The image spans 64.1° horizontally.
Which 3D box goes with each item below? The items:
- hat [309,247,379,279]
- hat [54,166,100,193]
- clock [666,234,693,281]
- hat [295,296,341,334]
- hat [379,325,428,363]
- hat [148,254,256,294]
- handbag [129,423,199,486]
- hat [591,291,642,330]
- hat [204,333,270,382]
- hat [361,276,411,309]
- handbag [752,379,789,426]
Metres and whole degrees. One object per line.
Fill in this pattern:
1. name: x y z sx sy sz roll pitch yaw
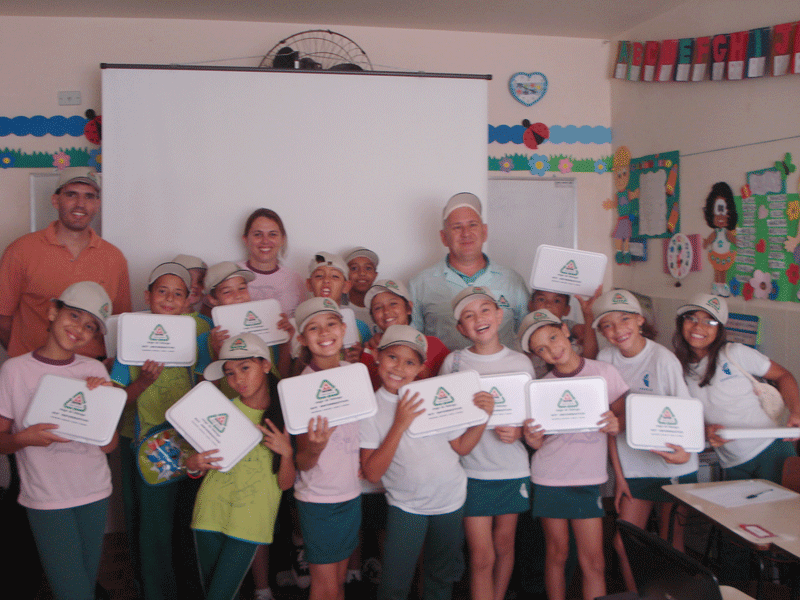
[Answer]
1. hat: -0.345 -0.253 3.954 0.219 0.102 0.328 -7 -1 41
2. hat: -1.928 -0.719 3.788 0.215 0.145 0.299 -6 10 -30
3. clock: 2.083 -0.307 4.740 0.061 0.359 0.285 -3 9 -11
4. hat: -0.435 0.060 3.204 0.233 0.174 0.327 -16 -2 -18
5. hat: 0.024 0.184 3.060 0.151 0.108 0.204 6 -31 -2
6. hat: -1.161 -0.168 3.747 0.463 0.124 0.290 -3 2 -13
7. handbag: -1.246 0.821 3.285 0.296 0.302 0.090 -3 2 -1
8. hat: 1.150 0.027 3.421 0.276 0.177 0.357 -12 -9 19
9. hat: -0.781 0.236 3.116 0.245 0.166 0.320 -1 0 0
10. hat: -0.089 -0.025 3.689 0.265 0.184 0.221 0 9 5
11. handbag: 1.971 0.537 3.412 0.175 0.249 0.077 1 9 14
